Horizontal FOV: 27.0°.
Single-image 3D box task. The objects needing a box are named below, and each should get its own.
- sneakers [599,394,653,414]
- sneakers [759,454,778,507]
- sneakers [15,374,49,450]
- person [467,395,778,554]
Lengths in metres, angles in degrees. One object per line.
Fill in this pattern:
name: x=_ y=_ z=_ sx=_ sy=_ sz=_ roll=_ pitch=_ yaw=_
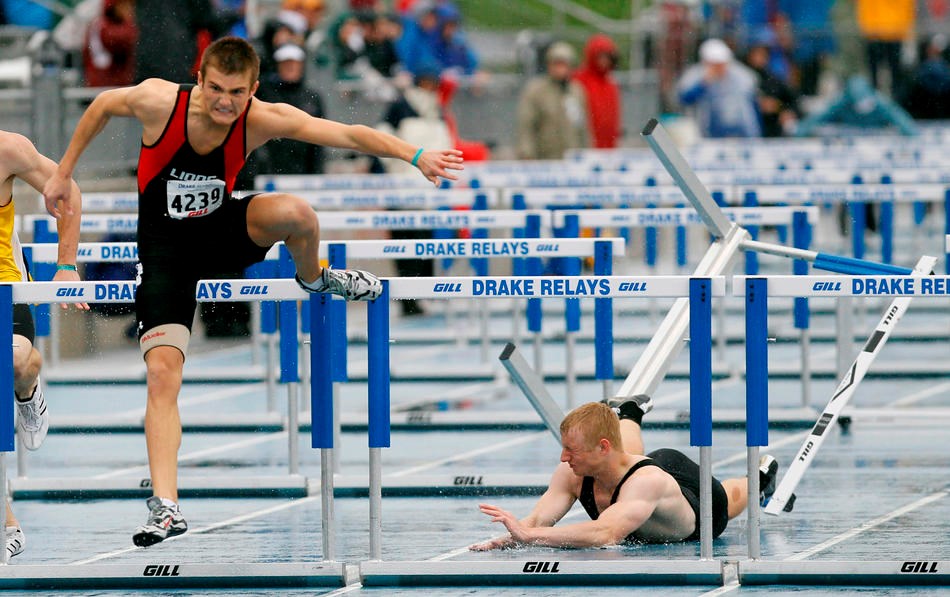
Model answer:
sneakers: x=1.304 y=0.907 z=16.940 sx=0.480 sy=0.186 sz=0.159 roll=0 pitch=0 yaw=2
sneakers: x=2.511 y=1.526 z=16.950 sx=0.179 sy=0.480 sz=0.200 roll=8 pitch=24 yaw=25
sneakers: x=-3.744 y=1.002 z=16.927 sx=0.242 sy=0.663 sz=0.278 roll=-5 pitch=18 yaw=-3
person: x=1.289 y=1.470 z=16.644 sx=2.442 sy=0.901 sz=1.145 roll=-1 pitch=0 yaw=-37
